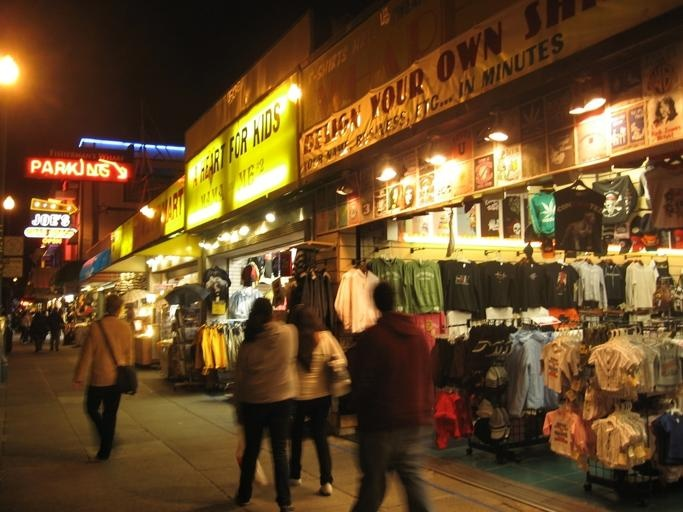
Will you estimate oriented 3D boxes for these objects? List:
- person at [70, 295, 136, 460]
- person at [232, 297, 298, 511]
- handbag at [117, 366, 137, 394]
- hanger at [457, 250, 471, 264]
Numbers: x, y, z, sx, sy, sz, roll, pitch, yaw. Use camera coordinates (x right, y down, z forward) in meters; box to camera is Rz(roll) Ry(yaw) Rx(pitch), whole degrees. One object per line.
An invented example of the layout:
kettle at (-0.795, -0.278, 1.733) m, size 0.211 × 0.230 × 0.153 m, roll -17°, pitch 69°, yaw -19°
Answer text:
person at (-3.361, 1.735, 9.126) m, size 0.840 × 2.350 × 0.371 m, roll 3°, pitch -7°, yaw -20°
person at (-0.867, 1.713, 7.385) m, size 0.721 × 2.413 × 0.519 m, roll -1°, pitch -7°, yaw 9°
handbag at (-3.046, 1.777, 9.158) m, size 0.211 × 0.415 × 0.330 m, roll -2°, pitch -7°, yaw 17°
hanger at (2.080, 0.018, 10.986) m, size 0.224 × 0.314 × 0.108 m, roll 2°, pitch 10°, yaw -5°
